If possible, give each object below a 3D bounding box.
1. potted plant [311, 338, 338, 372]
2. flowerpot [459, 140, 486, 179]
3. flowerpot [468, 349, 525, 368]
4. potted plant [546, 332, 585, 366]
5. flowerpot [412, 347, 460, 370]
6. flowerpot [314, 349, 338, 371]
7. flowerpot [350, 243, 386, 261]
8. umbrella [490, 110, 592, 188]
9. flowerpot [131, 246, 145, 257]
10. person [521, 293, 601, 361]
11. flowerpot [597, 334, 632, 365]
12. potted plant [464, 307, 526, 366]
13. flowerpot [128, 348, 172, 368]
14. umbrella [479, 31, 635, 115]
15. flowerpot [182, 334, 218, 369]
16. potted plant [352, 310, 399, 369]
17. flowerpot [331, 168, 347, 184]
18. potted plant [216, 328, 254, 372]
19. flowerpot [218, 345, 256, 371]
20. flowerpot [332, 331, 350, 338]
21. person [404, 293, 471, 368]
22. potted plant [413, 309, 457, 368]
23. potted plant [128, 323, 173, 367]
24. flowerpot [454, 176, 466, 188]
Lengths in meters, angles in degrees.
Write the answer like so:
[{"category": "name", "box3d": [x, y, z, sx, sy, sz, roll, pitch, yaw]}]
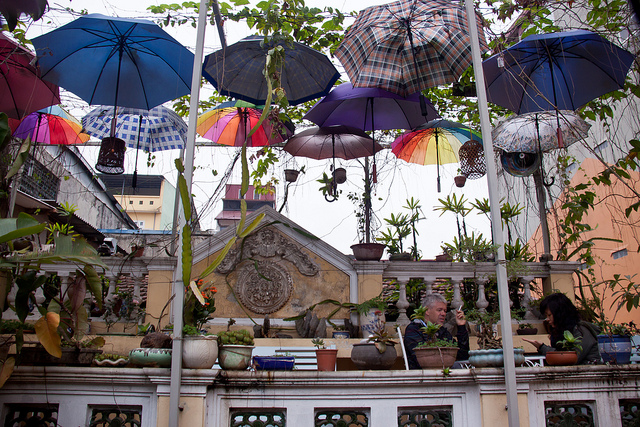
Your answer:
[{"category": "potted plant", "box3d": [0.065, 1.680, 7.376, 0.276, 0.387, 0.350, 2, -19, -6]}, {"category": "flowerpot", "box3d": [2.413, -0.871, 9.761, 0.361, 0.557, 0.421, -6, -20, 13]}, {"category": "flowerpot", "box3d": [1.962, 1.579, 6.824, 0.577, 0.209, 0.252, -7, -21, 14]}, {"category": "potted plant", "box3d": [2.811, 1.546, 7.112, 0.297, 0.328, 0.438, 0, -17, 12]}, {"category": "flowerpot", "box3d": [1.321, 1.599, 6.944, 0.293, 0.149, 0.311, -11, -20, 29]}, {"category": "flowerpot", "box3d": [0.085, 1.702, 7.221, 0.226, 0.181, 0.222, 19, -28, -38]}, {"category": "flowerpot", "box3d": [0.742, 0.560, 9.380, 0.411, 0.178, 0.428, -17, -26, 37]}, {"category": "umbrella", "box3d": [3.346, -0.970, 9.162, 1.359, 1.105, 1.318, 8, -13, -32]}, {"category": "flowerpot", "box3d": [-2.780, 0.549, 9.473, 0.159, 0.135, 0.172, 1, -18, -6]}, {"category": "person", "box3d": [2.950, 1.377, 7.543, 0.890, 1.034, 0.664, -1, -18, 13]}, {"category": "flowerpot", "box3d": [3.505, 1.578, 7.293, 0.334, 0.295, 0.360, -5, -13, 22]}, {"category": "potted plant", "box3d": [2.133, 1.501, 7.552, 0.555, 0.800, 0.675, -7, -14, 26]}, {"category": "flowerpot", "box3d": [-1.822, 1.558, 6.757, 0.600, 0.230, 0.203, -10, -22, 22]}, {"category": "umbrella", "box3d": [3.286, -1.911, 8.536, 1.904, 0.633, 1.368, -6, -22, 12]}, {"category": "flowerpot", "box3d": [-1.290, 1.479, 6.706, 0.317, 0.270, 0.344, -15, -27, 34]}, {"category": "potted plant", "box3d": [0.676, 1.477, 7.301, 0.606, 0.750, 0.565, 0, -15, 8]}, {"category": "flowerpot", "box3d": [0.338, -0.621, 10.008, 0.188, 0.149, 0.209, -2, -37, 3]}, {"category": "potted plant", "box3d": [-0.941, 1.494, 6.939, 0.430, 0.458, 0.425, 11, -10, -41]}, {"category": "flowerpot", "box3d": [-0.941, 1.576, 6.811, 0.266, 0.167, 0.292, -7, -24, 11]}, {"category": "flowerpot", "box3d": [0.308, 1.727, 8.981, 0.236, 0.134, 0.227, -7, -21, 13]}, {"category": "person", "box3d": [1.506, 1.529, 7.753, 0.711, 1.095, 0.724, 0, -7, 1]}, {"category": "potted plant", "box3d": [1.335, 1.473, 7.158, 0.488, 0.709, 0.472, -3, -22, 8]}, {"category": "potted plant", "box3d": [-1.858, 1.537, 7.017, 0.586, 0.428, 0.609, 13, -22, -21]}, {"category": "flowerpot", "box3d": [2.352, -0.555, 10.298, 0.143, 0.122, 0.156, 1, -23, 0]}]
